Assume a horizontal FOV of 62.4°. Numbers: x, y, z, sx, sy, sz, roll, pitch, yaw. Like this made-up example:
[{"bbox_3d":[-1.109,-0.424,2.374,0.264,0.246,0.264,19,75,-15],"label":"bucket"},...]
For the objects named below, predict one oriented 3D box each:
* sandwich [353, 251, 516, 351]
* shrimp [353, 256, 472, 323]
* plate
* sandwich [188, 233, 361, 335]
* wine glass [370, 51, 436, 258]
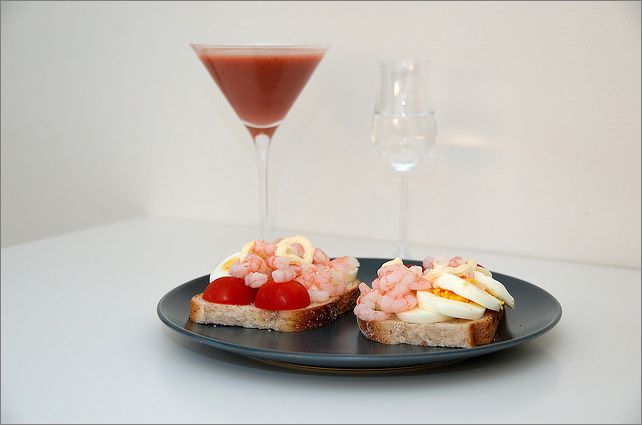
[{"bbox_3d":[0.246,0.165,1.145,0.295,0.117,0.334,-2,16,31],"label":"sandwich"},{"bbox_3d":[0.172,0.151,1.078,0.211,0.122,0.157,-5,10,-31],"label":"shrimp"},{"bbox_3d":[0.073,0.224,1.099,0.842,0.080,0.371,0,13,2],"label":"plate"},{"bbox_3d":[-0.096,0.151,1.211,0.407,0.109,0.378,-5,14,-13],"label":"sandwich"},{"bbox_3d":[0.247,-0.140,1.501,0.165,0.575,0.248,4,14,19],"label":"wine glass"}]
